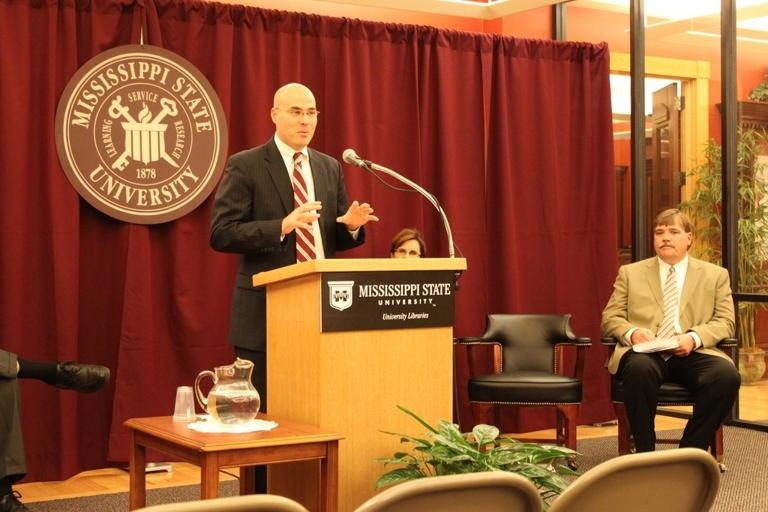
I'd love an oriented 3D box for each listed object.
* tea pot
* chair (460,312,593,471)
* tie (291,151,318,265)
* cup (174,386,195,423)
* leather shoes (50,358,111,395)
[{"bbox_3d":[-0.696,0.598,3.133,0.270,0.303,0.212,-1,-6,3],"label":"tea pot"},{"bbox_3d":[1.083,1.000,5.392,1.032,1.317,0.945,-1,-10,10],"label":"chair"},{"bbox_3d":[-0.414,-0.231,3.756,0.097,0.676,0.075,-4,-12,-10],"label":"tie"},{"bbox_3d":[-0.926,0.709,3.395,0.131,0.185,0.131,2,-11,0],"label":"cup"},{"bbox_3d":[-1.912,0.770,4.515,0.356,0.153,0.160,8,-37,-35],"label":"leather shoes"}]
